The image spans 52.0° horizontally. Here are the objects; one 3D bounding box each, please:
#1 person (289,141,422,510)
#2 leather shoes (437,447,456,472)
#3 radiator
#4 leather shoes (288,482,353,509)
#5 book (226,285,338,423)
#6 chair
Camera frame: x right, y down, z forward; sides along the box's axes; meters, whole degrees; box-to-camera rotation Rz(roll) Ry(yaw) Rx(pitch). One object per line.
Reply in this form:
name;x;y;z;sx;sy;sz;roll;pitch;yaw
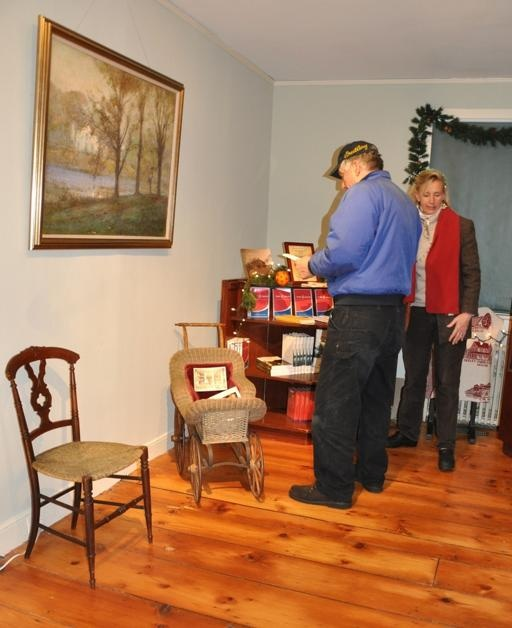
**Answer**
person;0.505;0.068;2.690;0.486;1.891;0.600;6;6;33
leather shoes;1.177;0.915;3.227;0.068;0.071;0.180;-2;-1;15
radiator;1.699;0.396;4.064;0.279;0.953;0.705;9;-1;-44
leather shoes;0.336;0.940;2.815;0.333;0.133;0.121;8;2;17
book;0.175;0.239;3.485;1.053;0.932;0.524;1;1;0
chair;-0.722;0.575;2.265;0.582;0.875;0.741;3;4;8
